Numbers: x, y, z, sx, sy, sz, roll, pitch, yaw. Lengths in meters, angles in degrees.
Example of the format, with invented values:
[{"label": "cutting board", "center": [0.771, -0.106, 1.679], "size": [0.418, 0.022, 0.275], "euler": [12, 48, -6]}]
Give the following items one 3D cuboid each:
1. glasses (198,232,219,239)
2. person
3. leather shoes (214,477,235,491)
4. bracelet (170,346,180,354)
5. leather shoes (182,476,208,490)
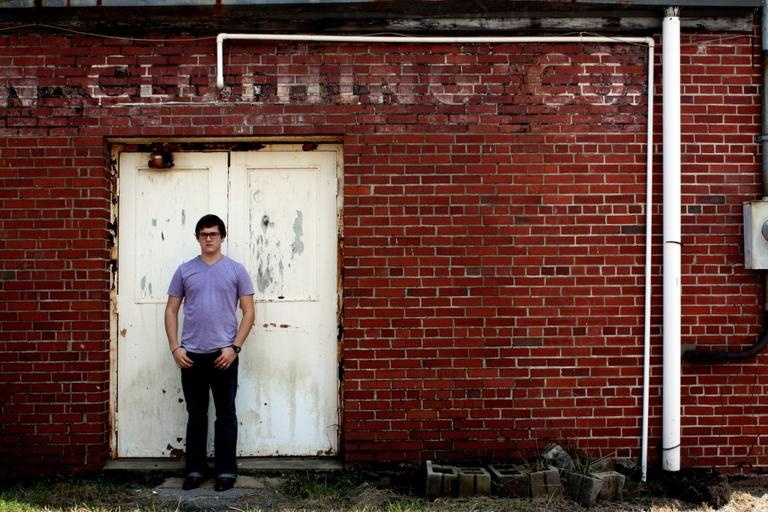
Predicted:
[{"label": "glasses", "center": [-1.813, -0.215, 10.795], "size": [0.183, 0.064, 0.040], "euler": [1, -2, -9]}, {"label": "person", "center": [-1.816, 0.984, 10.829], "size": [0.888, 2.814, 0.295], "euler": [1, -2, -9]}, {"label": "leather shoes", "center": [-1.640, 2.317, 10.763], "size": [0.210, 0.177, 0.123], "euler": [0, 1, -3]}, {"label": "bracelet", "center": [-2.153, 0.952, 10.798], "size": [0.075, 0.077, 0.163], "euler": [1, -2, -11]}, {"label": "leather shoes", "center": [-1.952, 2.317, 10.830], "size": [0.242, 0.159, 0.073], "euler": [1, -2, -29]}]
